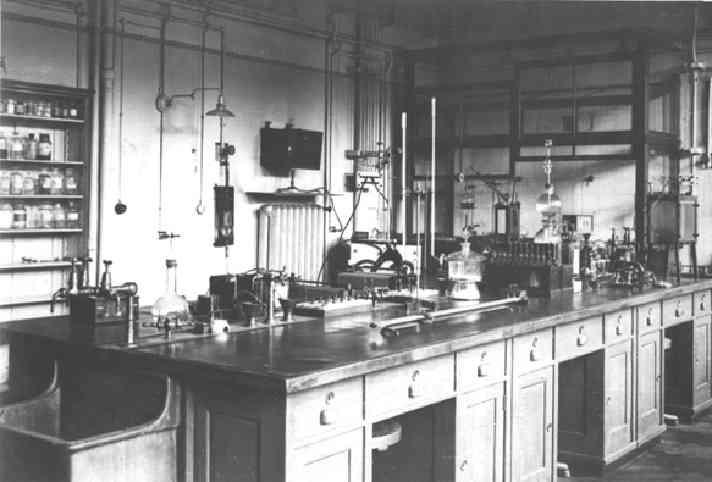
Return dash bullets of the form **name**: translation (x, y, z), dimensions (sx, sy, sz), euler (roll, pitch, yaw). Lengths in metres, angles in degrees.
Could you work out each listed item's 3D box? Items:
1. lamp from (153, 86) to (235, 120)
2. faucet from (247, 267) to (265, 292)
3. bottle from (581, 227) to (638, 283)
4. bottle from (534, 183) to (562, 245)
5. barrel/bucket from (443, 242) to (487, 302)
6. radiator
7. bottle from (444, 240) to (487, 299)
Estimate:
- **lamp**: translation (-1.567, -1.392, 8.512), dimensions (0.861, 0.363, 0.367), euler (-1, 3, 10)
- **faucet**: translation (-0.686, 0.255, 5.966), dimensions (0.128, 0.143, 0.131), euler (1, 1, 44)
- **bottle**: translation (2.418, 0.162, 7.897), dimensions (0.326, 0.427, 1.146), euler (2, 3, 32)
- **bottle**: translation (1.710, -0.157, 7.535), dimensions (0.248, 0.632, 0.250), euler (0, -11, 0)
- **barrel/bucket**: translation (0.863, 0.240, 6.777), dimensions (0.360, 0.530, 0.369), euler (1, -13, 0)
- **radiator**: translation (-0.696, -0.001, 9.763), dimensions (0.716, 0.843, 0.539), euler (3, 8, 1)
- **bottle**: translation (0.883, 0.209, 6.737), dimensions (0.362, 0.488, 0.378), euler (0, -1, 0)
